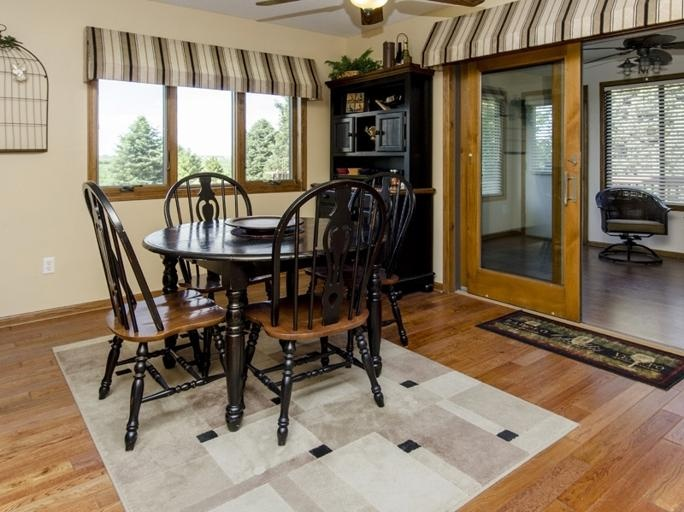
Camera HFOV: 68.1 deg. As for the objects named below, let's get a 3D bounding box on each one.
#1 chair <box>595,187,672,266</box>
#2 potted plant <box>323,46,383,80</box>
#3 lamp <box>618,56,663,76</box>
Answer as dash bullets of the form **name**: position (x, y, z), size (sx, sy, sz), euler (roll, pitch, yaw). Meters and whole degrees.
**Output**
- **chair**: position (3.632, -0.404, 6.331), size (0.799, 0.884, 0.888), euler (2, 15, 29)
- **potted plant**: position (0.159, -1.973, 5.262), size (0.530, 0.183, 0.544), euler (6, 14, 40)
- **lamp**: position (3.696, -2.339, 6.212), size (0.457, 0.184, 0.449), euler (2, 8, 36)
